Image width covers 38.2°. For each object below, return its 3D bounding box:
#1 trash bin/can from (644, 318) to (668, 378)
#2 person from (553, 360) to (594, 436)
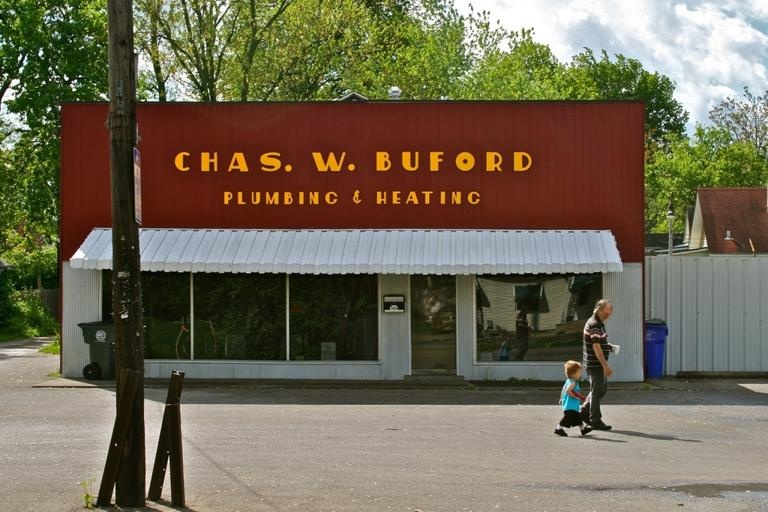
[{"bbox_3d":[8.477,2.819,34.387,0.728,1.764,0.346,-1,8,-2],"label":"trash bin/can"},{"bbox_3d":[4.707,3.460,27.598,0.928,1.774,0.968,-1,8,-3],"label":"person"}]
